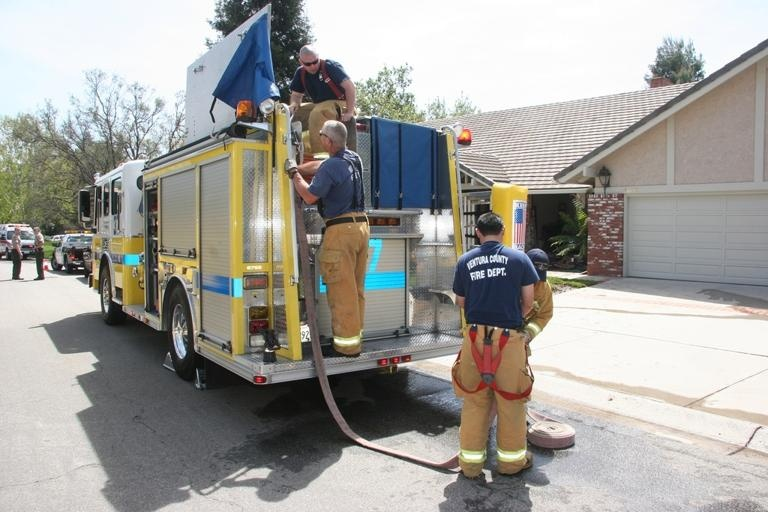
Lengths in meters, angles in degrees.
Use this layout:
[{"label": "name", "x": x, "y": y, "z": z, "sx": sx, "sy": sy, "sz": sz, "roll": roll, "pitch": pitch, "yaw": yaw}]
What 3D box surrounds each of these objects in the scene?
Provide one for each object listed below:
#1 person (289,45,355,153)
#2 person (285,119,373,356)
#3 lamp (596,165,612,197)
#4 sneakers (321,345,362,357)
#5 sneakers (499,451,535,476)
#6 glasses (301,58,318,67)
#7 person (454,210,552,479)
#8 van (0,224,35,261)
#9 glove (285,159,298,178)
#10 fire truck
[{"label": "person", "x": -0.939, "y": -2.255, "z": 8.392, "sx": 1.131, "sy": 1.639, "sz": 0.963, "roll": -15, "pitch": 18, "yaw": -40}, {"label": "person", "x": -0.639, "y": -0.214, "z": 7.106, "sx": 0.884, "sy": 2.919, "sz": 0.694, "roll": -3, "pitch": 11, "yaw": -11}, {"label": "lamp", "x": 6.828, "y": -2.336, "z": 17.427, "sx": 0.419, "sy": 0.947, "sz": 0.298, "roll": 4, "pitch": 12, "yaw": 26}, {"label": "sneakers", "x": -0.576, "y": 1.215, "z": 7.067, "sx": 0.487, "sy": 0.207, "sz": 0.169, "roll": -5, "pitch": -4, "yaw": 41}, {"label": "sneakers", "x": 1.483, "y": 2.340, "z": 6.345, "sx": 0.162, "sy": 0.293, "sz": 0.422, "roll": 8, "pitch": 15, "yaw": 40}, {"label": "glasses", "x": -1.098, "y": -2.820, "z": 8.203, "sx": 0.255, "sy": 0.098, "sz": 0.120, "roll": 1, "pitch": 11, "yaw": 9}, {"label": "person", "x": 1.235, "y": 0.989, "z": 6.275, "sx": 0.916, "sy": 2.830, "sz": 0.821, "roll": 1, "pitch": 11, "yaw": 6}, {"label": "van", "x": -20.499, "y": -0.751, "z": 31.255, "sx": 2.130, "sy": 1.990, "sz": 3.664, "roll": 0, "pitch": 0, "yaw": -43}, {"label": "glove", "x": -1.132, "y": -1.070, "z": 6.851, "sx": 0.156, "sy": 0.200, "sz": 0.082, "roll": 6, "pitch": -11, "yaw": -30}, {"label": "fire truck", "x": -2.211, "y": -0.305, "z": 9.372, "sx": 3.277, "sy": 2.753, "sz": 6.376, "roll": -3, "pitch": 8, "yaw": -34}]
